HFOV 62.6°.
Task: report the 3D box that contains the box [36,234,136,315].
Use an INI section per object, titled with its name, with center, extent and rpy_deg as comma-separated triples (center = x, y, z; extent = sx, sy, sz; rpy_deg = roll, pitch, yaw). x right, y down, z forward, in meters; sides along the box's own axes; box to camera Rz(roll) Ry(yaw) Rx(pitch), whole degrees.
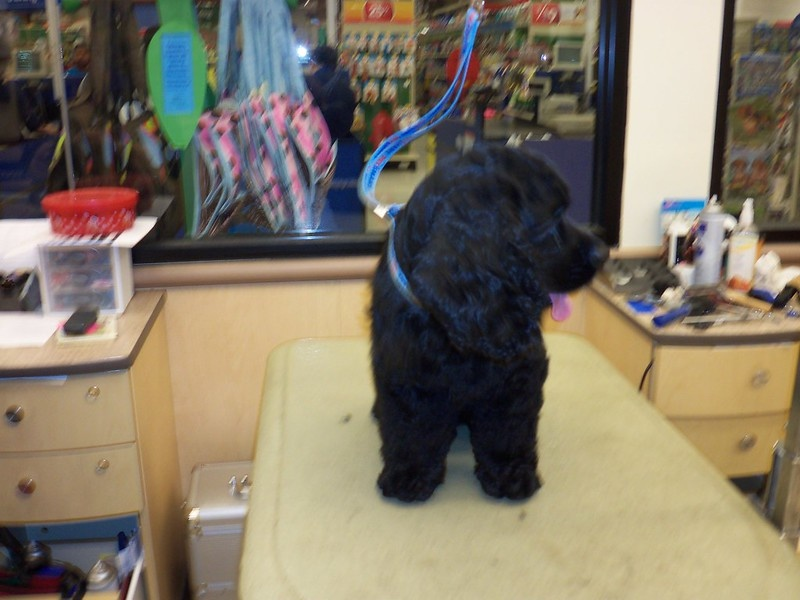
[box]
center = -0.968, -0.048, 2.018
extent = 0.210, 0.218, 0.174
rpy_deg = -5, -6, -19

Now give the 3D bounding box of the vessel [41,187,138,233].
[vessel]
center = -0.986, -0.264, 2.069
extent = 0.289, 0.118, 0.308
rpy_deg = 1, 12, 5

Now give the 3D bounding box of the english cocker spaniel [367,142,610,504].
[english cocker spaniel]
center = 0.136, 0.048, 1.272
extent = 0.409, 0.666, 0.445
rpy_deg = 11, 22, 35

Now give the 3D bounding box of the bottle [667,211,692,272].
[bottle]
center = 0.974, -0.202, 2.274
extent = 0.094, 0.167, 0.105
rpy_deg = 14, 51, 33
